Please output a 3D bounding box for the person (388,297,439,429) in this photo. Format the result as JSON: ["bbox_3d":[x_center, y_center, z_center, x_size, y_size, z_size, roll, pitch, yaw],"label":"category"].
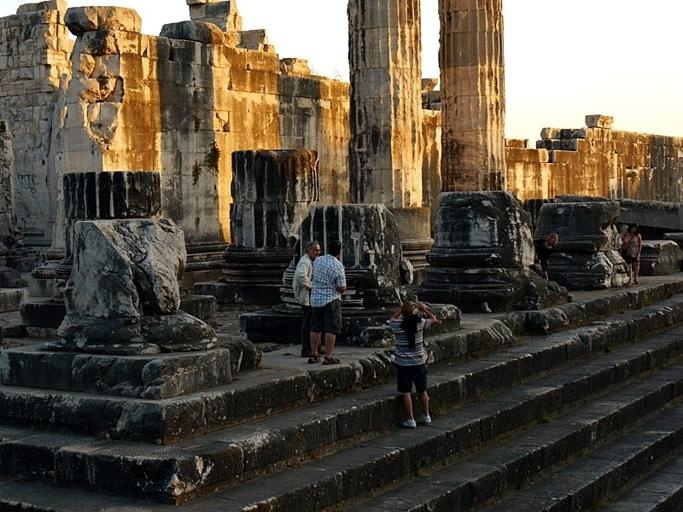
[{"bbox_3d":[0.755,1.078,10.322,0.463,1.244,0.909,-1,1,6],"label":"person"}]

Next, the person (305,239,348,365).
[{"bbox_3d":[-0.160,0.476,10.707,0.411,1.271,0.730,-1,1,-1],"label":"person"}]

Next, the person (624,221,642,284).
[{"bbox_3d":[5.429,-0.060,18.311,0.245,1.081,0.872,0,1,16],"label":"person"}]

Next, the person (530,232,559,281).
[{"bbox_3d":[3.509,-0.006,16.858,0.400,0.795,2.073,-1,1,11],"label":"person"}]

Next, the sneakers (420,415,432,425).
[{"bbox_3d":[0.869,1.649,10.029,0.056,0.064,0.140,-1,2,-4],"label":"sneakers"}]
